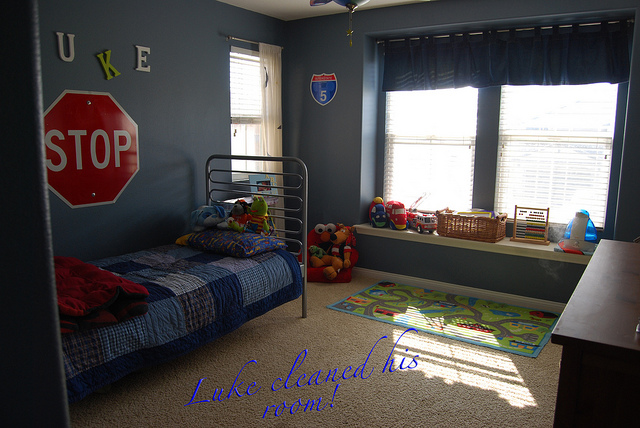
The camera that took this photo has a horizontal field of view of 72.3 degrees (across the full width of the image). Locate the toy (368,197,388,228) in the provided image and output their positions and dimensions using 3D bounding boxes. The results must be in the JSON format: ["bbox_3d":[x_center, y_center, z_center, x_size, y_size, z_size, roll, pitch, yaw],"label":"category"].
[{"bbox_3d":[0.614,-0.029,4.599,0.171,0.290,0.256,0,12,-4],"label":"toy"}]

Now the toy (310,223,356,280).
[{"bbox_3d":[0.194,0.381,4.456,0.508,0.538,0.405,5,3,-40],"label":"toy"}]

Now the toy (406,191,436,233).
[{"bbox_3d":[1.010,-0.004,4.513,0.212,0.347,0.592,-11,10,-9],"label":"toy"}]

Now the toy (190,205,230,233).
[{"bbox_3d":[-0.938,0.032,3.717,0.318,0.226,0.177,-9,8,-12],"label":"toy"}]

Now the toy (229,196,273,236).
[{"bbox_3d":[-0.583,0.031,3.739,0.297,0.324,0.342,5,9,22],"label":"toy"}]

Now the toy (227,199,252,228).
[{"bbox_3d":[-0.672,0.017,3.766,0.154,0.287,0.206,10,-6,-43],"label":"toy"}]

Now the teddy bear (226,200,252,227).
[{"bbox_3d":[-0.678,0.014,3.770,0.211,0.280,0.135,5,14,10],"label":"teddy bear"}]

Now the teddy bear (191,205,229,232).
[{"bbox_3d":[-0.937,0.026,3.773,0.329,0.237,0.312,-8,1,-7],"label":"teddy bear"}]

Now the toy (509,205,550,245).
[{"bbox_3d":[1.911,0.086,3.976,0.320,0.314,0.218,6,14,25],"label":"toy"}]

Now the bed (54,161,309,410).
[{"bbox_3d":[-0.959,0.285,3.323,1.275,1.186,2.366,10,16,37],"label":"bed"}]

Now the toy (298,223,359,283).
[{"bbox_3d":[0.057,0.409,4.485,0.602,0.594,0.505,10,14,34],"label":"toy"}]
